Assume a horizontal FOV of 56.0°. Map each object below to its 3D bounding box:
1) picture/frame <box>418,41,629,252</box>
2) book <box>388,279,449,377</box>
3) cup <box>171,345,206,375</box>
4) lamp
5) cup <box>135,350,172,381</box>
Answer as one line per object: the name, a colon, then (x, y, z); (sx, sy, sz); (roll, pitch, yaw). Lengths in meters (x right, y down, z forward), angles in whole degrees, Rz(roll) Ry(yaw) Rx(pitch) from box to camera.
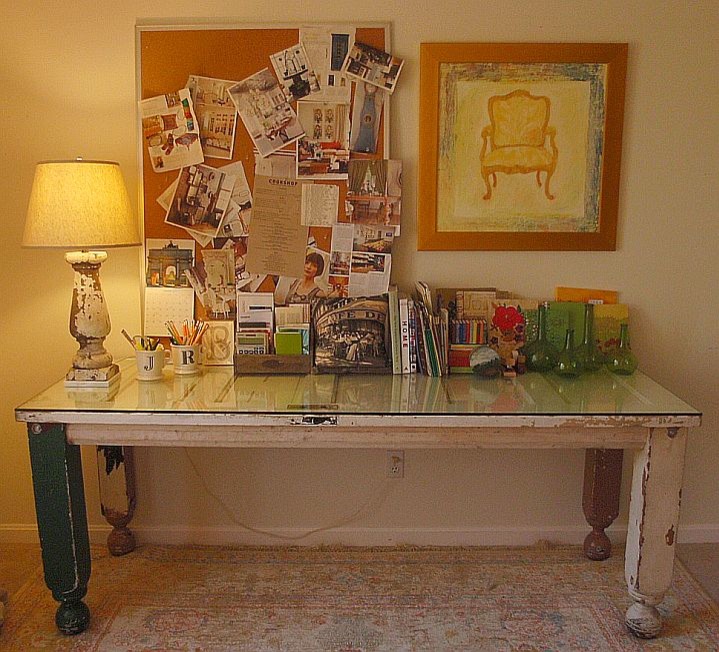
picture/frame: (0.580, -0.669, 2.400); (0.644, 0.687, 0.050); (-1, 11, -1)
book: (0.203, 0.039, 2.515); (0.238, 0.428, 0.425); (-2, 8, 4)
cup: (-0.600, 0.122, 2.390); (0.088, 0.100, 0.110); (0, 1, 40)
lamp: (-0.917, -0.175, 2.244); (0.286, 0.729, 0.256); (2, 10, 14)
cup: (-0.706, 0.137, 2.294); (0.102, 0.091, 0.084); (1, 1, -14)
